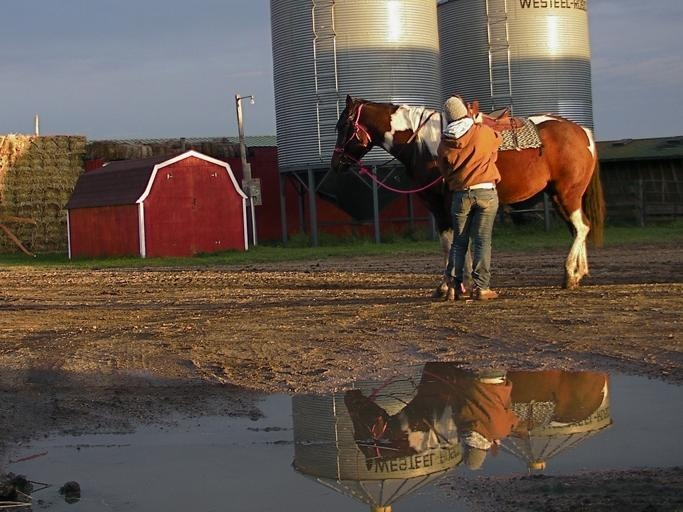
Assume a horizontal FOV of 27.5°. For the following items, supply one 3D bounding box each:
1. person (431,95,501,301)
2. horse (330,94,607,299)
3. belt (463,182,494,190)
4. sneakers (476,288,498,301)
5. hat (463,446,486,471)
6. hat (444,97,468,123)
[{"bbox_3d":[2.148,-0.966,23.298,0.997,3.407,0.425,-3,4,4],"label":"person"},{"bbox_3d":[2.264,-1.153,24.862,5.172,3.480,1.404,-1,-10,2],"label":"horse"},{"bbox_3d":[2.327,-1.179,23.191,0.511,0.122,0.132,-5,5,-19],"label":"belt"},{"bbox_3d":[2.440,0.624,23.499,0.433,0.197,0.155,-7,14,-34],"label":"sneakers"},{"bbox_3d":[1.768,2.659,18.374,0.226,0.250,0.246,16,-28,4],"label":"hat"},{"bbox_3d":[1.902,-2.465,23.268,0.422,0.443,0.370,-1,5,27],"label":"hat"}]
